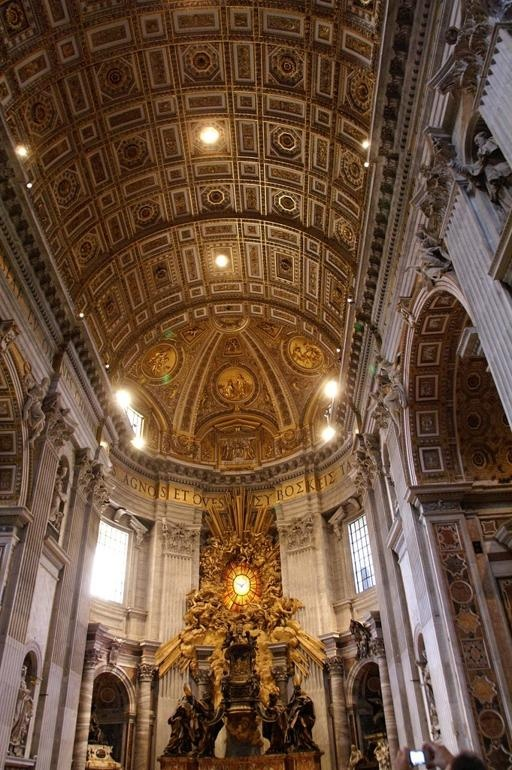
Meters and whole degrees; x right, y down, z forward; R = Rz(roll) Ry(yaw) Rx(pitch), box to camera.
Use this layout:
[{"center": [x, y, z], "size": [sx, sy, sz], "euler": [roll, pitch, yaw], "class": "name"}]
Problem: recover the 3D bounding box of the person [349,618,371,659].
[{"center": [3.442, 8.347, 15.422], "size": [0.544, 1.061, 1.162], "euler": [-5, -36, 3], "class": "person"}]
